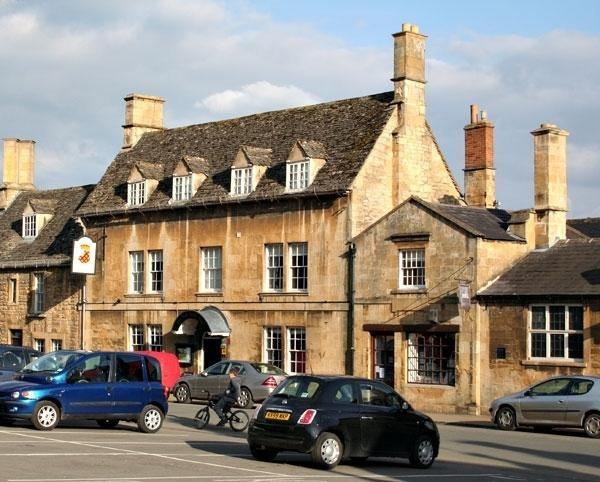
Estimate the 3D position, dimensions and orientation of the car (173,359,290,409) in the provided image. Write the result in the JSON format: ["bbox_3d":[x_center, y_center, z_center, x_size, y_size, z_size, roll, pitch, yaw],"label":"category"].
[{"bbox_3d":[-2.678,5.072,55.228,4.090,1.394,1.760,-1,-6,33],"label":"car"}]

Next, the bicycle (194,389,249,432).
[{"bbox_3d":[-2.459,5.306,47.847,1.865,1.180,1.129,3,-14,7],"label":"bicycle"}]

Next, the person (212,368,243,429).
[{"bbox_3d":[-2.266,4.881,47.776,0.822,1.724,0.801,-5,-7,42],"label":"person"}]
